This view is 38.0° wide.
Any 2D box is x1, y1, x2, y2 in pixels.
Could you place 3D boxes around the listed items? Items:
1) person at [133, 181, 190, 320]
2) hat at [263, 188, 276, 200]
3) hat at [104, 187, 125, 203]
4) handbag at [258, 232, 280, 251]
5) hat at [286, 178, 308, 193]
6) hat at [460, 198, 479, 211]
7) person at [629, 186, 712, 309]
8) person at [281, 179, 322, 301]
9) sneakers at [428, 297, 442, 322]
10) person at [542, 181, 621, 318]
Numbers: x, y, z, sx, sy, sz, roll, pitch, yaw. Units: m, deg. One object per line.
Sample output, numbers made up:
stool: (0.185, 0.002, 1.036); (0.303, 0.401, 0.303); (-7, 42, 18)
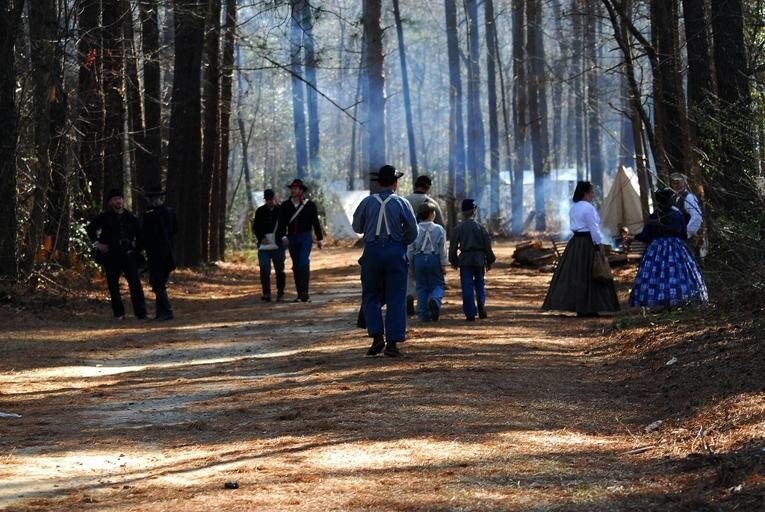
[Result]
person: (-4.338, -0.037, 21.720); (0.705, 2.572, 0.716); (-4, 9, -13)
hat: (-2.340, -1.291, 23.036); (0.225, 0.122, 0.176); (-6, 47, 6)
hat: (-5.653, -1.304, 23.572); (0.542, 0.250, 0.638); (-2, -14, -20)
handbag: (-2.392, -0.279, 23.353); (0.352, 0.370, 0.136); (-5, -26, 25)
hat: (-1.727, -1.449, 22.724); (0.419, 0.202, 0.517); (6, -4, 4)
hat: (1.539, -0.932, 20.112); (0.198, 0.140, 0.277); (2, 8, 21)
person: (4.842, -0.114, 19.071); (1.228, 2.029, 0.514); (1, 9, 18)
person: (-1.679, -0.281, 23.007); (0.704, 2.638, 1.031); (-7, 10, -31)
sneakers: (0.919, 0.976, 19.706); (0.154, 0.477, 0.198); (0, 12, -3)
person: (3.536, -0.135, 19.953); (1.235, 2.359, 0.430); (0, 9, 11)
